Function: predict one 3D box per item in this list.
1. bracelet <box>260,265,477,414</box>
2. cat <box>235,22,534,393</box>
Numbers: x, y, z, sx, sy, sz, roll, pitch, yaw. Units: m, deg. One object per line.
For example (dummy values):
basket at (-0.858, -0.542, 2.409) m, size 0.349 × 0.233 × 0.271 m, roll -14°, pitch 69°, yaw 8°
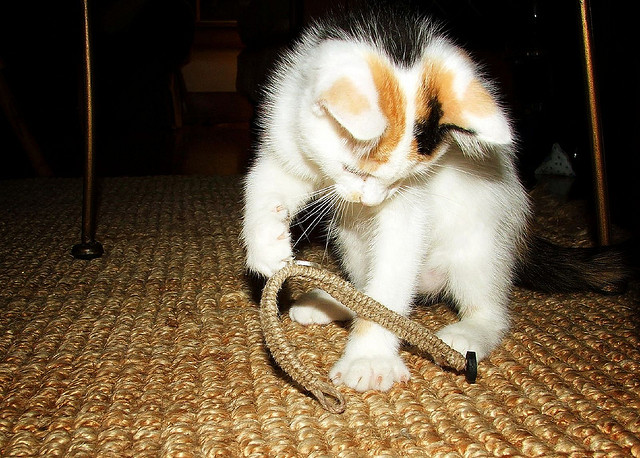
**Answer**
bracelet at (0.072, 0.213, 1.082) m, size 0.346 × 0.090 × 0.241 m, roll 41°, pitch 68°, yaw 8°
cat at (0.218, -0.070, 1.389) m, size 0.554 × 0.699 × 0.915 m, roll 15°, pitch 18°, yaw 32°
